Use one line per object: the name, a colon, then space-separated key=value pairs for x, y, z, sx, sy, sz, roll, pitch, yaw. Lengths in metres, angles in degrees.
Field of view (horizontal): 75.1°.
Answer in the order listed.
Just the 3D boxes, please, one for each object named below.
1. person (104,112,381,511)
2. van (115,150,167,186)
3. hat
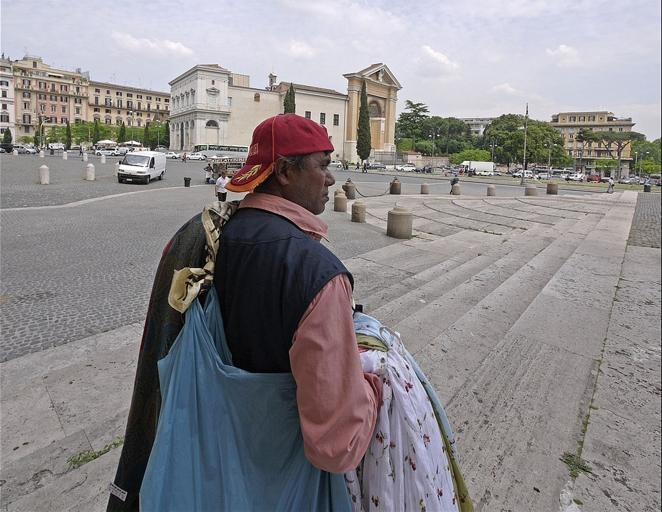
person: x=-0.359 y=0.305 z=1.984 sx=1.211 sy=1.914 sz=0.621 roll=3 pitch=10 yaw=10
van: x=-11.583 y=-5.298 z=26.386 sx=1.854 sy=1.649 sz=3.697 roll=1 pitch=10 yaw=-1
hat: x=-0.257 y=-0.512 z=2.165 sx=0.574 sy=0.373 sz=0.385 roll=-12 pitch=6 yaw=-30
